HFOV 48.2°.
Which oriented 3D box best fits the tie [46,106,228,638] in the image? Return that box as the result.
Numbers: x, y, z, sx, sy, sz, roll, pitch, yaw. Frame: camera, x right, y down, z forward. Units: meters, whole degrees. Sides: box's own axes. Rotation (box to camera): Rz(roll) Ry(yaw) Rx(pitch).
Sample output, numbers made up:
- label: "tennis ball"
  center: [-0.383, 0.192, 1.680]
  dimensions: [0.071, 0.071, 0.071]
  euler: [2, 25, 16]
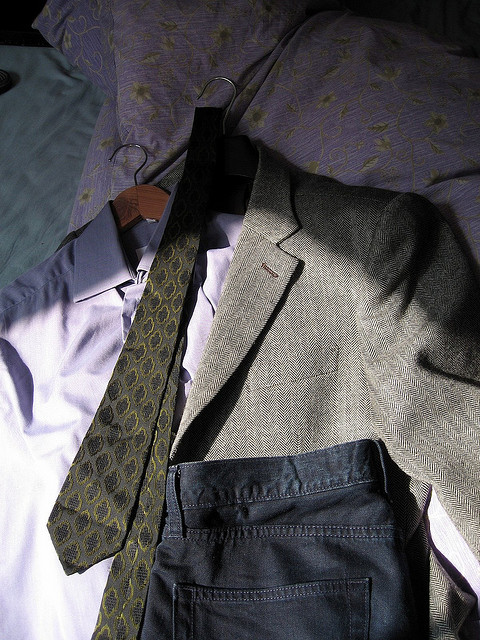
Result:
- label: "tie"
  center: [-0.128, -0.011, 0.829]
  dimensions: [0.135, 0.049, 0.859]
  euler: [12, 60, -11]
